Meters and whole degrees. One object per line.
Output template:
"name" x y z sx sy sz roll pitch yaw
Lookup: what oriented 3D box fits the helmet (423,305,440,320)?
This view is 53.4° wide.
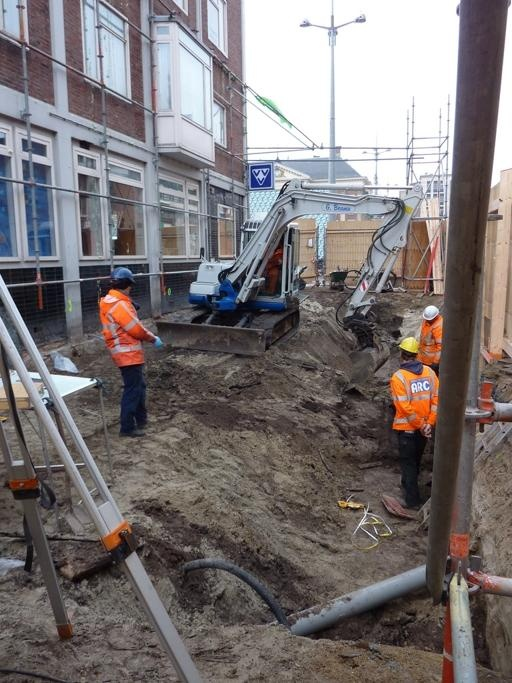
"helmet" 2.766 -0.446 7.980 0.243 0.124 0.342 -11 20 27

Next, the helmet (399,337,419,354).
"helmet" 1.846 0.041 6.112 0.192 0.129 0.233 11 22 19

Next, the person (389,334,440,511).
"person" 1.836 0.950 5.970 0.495 1.926 0.874 2 11 17

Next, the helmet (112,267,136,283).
"helmet" -1.538 -0.778 5.984 0.232 0.166 0.308 10 19 14

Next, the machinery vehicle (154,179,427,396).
"machinery vehicle" 0.683 -1.540 10.307 4.631 3.273 2.539 7 23 20
